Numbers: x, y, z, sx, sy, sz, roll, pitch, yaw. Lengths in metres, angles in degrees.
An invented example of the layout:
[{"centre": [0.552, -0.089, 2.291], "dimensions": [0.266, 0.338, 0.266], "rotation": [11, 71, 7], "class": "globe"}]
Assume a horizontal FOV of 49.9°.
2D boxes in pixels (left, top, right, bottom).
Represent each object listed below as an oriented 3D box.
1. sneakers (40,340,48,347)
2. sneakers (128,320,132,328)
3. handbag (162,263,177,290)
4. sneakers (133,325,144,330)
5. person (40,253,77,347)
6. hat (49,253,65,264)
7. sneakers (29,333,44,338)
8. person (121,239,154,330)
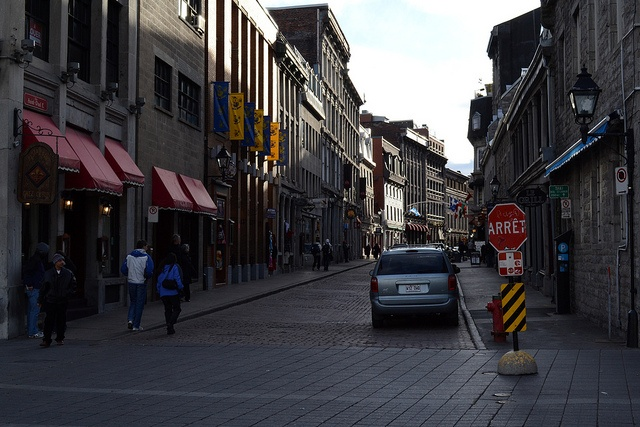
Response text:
[{"centre": [-6.475, 3.027, 16.005], "dimensions": [0.095, 0.106, 0.219], "rotation": [6, -14, -36], "class": "sneakers"}, {"centre": [-5.105, 2.944, 18.255], "dimensions": [0.079, 0.202, 0.264], "rotation": [3, -10, -37], "class": "sneakers"}, {"centre": [-3.937, 1.652, 17.996], "dimensions": [0.288, 0.553, 0.488], "rotation": [1, -15, 2], "class": "handbag"}, {"centre": [-4.882, 3.022, 18.283], "dimensions": [0.079, 0.118, 0.248], "rotation": [0, 0, 36], "class": "sneakers"}, {"centre": [-6.293, 2.037, 16.330], "dimensions": [0.808, 2.160, 0.539], "rotation": [0, -8, -19], "class": "person"}, {"centre": [-6.324, 1.055, 16.399], "dimensions": [0.304, 0.280, 0.255], "rotation": [-24, -5, -3], "class": "hat"}, {"centre": [-7.183, 3.046, 17.257], "dimensions": [0.302, 0.163, 0.122], "rotation": [2, 0, 5], "class": "sneakers"}, {"centre": [-4.994, 1.911, 18.618], "dimensions": [0.788, 2.456, 1.041], "rotation": [0, -8, -16], "class": "person"}]
